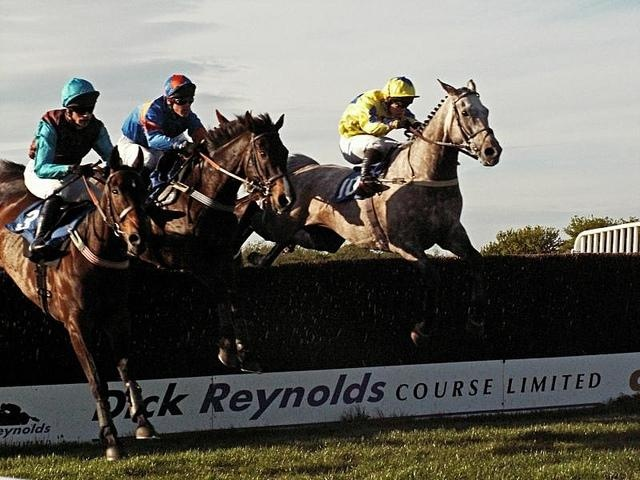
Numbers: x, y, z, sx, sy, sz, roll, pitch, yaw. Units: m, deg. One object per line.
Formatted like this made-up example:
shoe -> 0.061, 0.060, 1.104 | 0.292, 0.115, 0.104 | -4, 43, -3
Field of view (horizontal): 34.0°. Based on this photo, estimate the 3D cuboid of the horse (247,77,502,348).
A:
horse -> 0.494, -0.330, 12.041 | 1.036, 2.607, 4.805 | -2, 2, -32

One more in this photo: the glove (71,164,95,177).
glove -> -2.072, -0.606, 9.175 | 0.260, 0.114, 0.166 | 2, 6, 7

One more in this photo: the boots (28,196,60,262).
boots -> -2.403, -0.091, 9.413 | 0.213, 0.577, 0.260 | 16, -44, 1

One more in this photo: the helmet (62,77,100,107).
helmet -> -2.184, -1.382, 9.518 | 0.293, 0.202, 0.363 | -15, 12, -22

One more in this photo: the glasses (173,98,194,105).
glasses -> -1.385, -1.408, 10.649 | 0.199, 0.064, 0.067 | -1, 6, -23

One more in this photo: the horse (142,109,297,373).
horse -> -0.985, 0.058, 10.497 | 1.526, 2.654, 0.635 | 3, 6, 16
